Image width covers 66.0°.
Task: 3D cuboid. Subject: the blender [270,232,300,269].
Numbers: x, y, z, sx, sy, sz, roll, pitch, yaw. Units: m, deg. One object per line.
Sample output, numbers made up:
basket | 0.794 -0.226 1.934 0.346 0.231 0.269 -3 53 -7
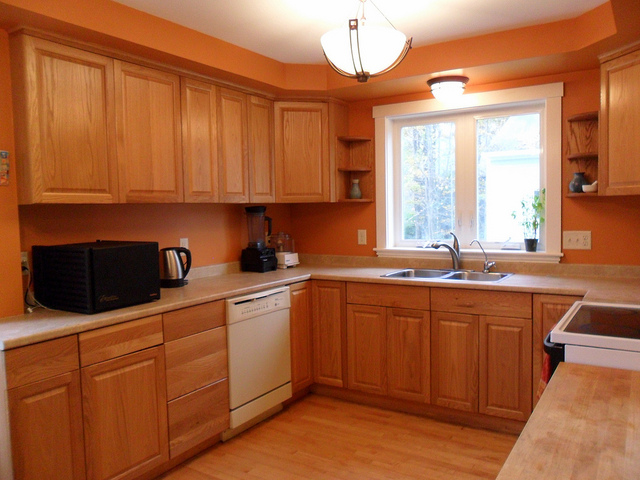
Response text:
blender | -0.368 0.089 4.373 0.326 0.315 0.225 0 2 34

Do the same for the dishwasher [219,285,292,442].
dishwasher | -0.604 0.822 3.673 0.533 0.992 0.614 6 11 42

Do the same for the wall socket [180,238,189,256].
wall socket | -1.045 0.023 3.802 0.028 0.091 0.083 5 11 34

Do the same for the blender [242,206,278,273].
blender | -0.529 -0.024 4.168 0.279 0.553 0.329 -9 12 -36

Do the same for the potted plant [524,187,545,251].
potted plant | 1.660 -0.168 3.814 0.118 0.479 0.180 6 12 41

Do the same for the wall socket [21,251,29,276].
wall socket | -1.756 0.138 2.928 0.030 0.145 0.048 7 13 43

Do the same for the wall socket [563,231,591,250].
wall socket | 1.900 -0.005 3.624 0.140 0.113 0.016 3 6 33

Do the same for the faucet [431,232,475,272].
faucet | 1.077 0.114 3.947 0.245 0.260 0.387 -2 -6 42

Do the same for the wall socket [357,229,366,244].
wall socket | 0.376 -0.036 4.446 0.079 0.132 0.021 4 11 31

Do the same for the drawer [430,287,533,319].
drawer | 1.233 0.483 3.534 0.441 0.181 0.813 19 -14 -38

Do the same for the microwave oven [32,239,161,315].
microwave oven | -1.358 0.159 2.965 0.512 0.337 0.482 2 5 31

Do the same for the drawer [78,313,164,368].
drawer | -1.118 0.552 2.707 0.252 0.106 0.247 1 5 40

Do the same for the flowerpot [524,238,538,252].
flowerpot | 1.622 0.039 3.780 0.091 0.082 0.098 2 3 35

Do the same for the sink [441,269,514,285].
sink | 1.219 0.282 3.827 0.266 0.099 0.218 1 7 31
